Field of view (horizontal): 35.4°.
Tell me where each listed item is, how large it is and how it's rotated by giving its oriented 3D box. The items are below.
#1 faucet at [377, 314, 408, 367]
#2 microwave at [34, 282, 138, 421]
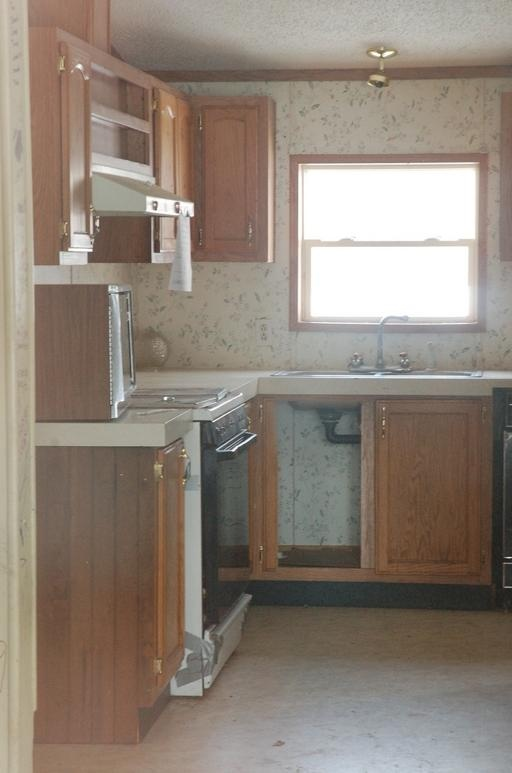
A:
[{"bbox_3d":[0.645,-0.211,3.834,0.145,0.271,0.335,-1,1,8],"label":"faucet"},{"bbox_3d":[-0.483,-0.098,2.275,0.260,0.380,0.361,-1,1,-10],"label":"microwave"}]
